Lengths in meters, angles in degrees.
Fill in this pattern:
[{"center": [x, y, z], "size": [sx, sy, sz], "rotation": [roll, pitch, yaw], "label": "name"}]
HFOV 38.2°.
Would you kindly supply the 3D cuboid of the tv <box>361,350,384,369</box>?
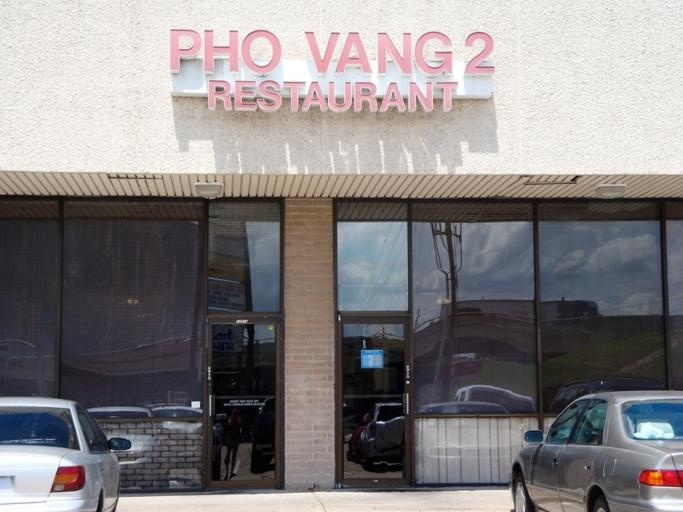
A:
[{"center": [0.539, 1.742, 16.989], "size": [0.414, 0.332, 0.040], "rotation": [-2, -12, -7], "label": "tv"}]
